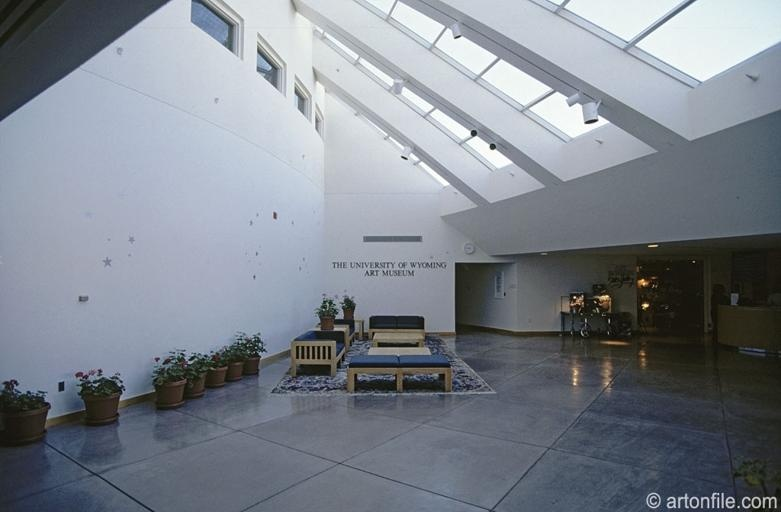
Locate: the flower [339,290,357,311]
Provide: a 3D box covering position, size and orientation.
[{"bbox_3d":[-1.389,1.598,15.659,0.569,0.669,0.586,-3,-5,45],"label":"flower"}]

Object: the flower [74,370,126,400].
[{"bbox_3d":[-4.938,2.173,7.756,0.543,0.335,0.533,5,7,-37],"label":"flower"}]

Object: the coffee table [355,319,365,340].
[{"bbox_3d":[-1.010,2.574,15.852,0.502,0.599,0.947,0,-5,3],"label":"coffee table"}]

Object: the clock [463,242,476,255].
[{"bbox_3d":[2.886,-0.227,16.479,0.451,0.427,0.247,1,6,5],"label":"clock"}]

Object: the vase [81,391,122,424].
[{"bbox_3d":[-4.845,2.544,7.665,0.524,0.427,0.515,1,-4,-36],"label":"vase"}]

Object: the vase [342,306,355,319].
[{"bbox_3d":[-1.372,1.923,15.347,0.406,0.326,0.441,0,-7,13],"label":"vase"}]

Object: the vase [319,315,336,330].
[{"bbox_3d":[-1.708,1.837,12.455,0.368,0.293,0.373,1,-7,12],"label":"vase"}]
